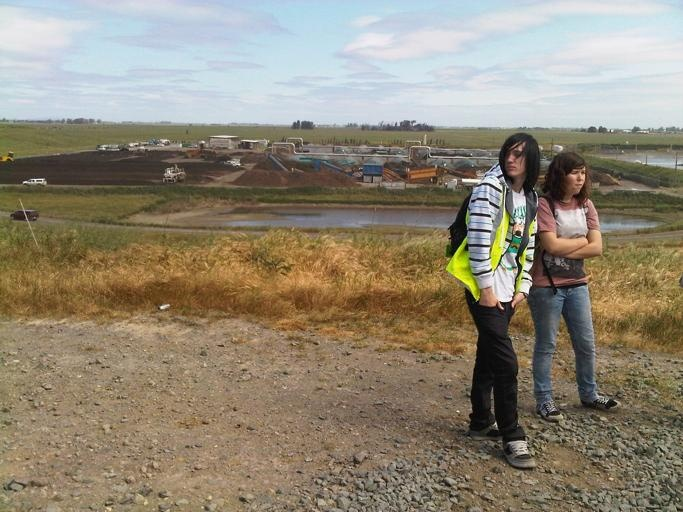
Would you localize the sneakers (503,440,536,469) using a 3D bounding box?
[{"bbox_3d":[1.390,1.536,3.968,0.124,0.107,0.298,-2,-7,-7],"label":"sneakers"}]

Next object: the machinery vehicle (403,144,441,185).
[{"bbox_3d":[9.794,-10.760,63.058,3.747,5.269,2.976,0,-12,3],"label":"machinery vehicle"}]

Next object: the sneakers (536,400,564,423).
[{"bbox_3d":[1.879,1.409,4.614,0.116,0.101,0.285,-4,-6,-7],"label":"sneakers"}]

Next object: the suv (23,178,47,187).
[{"bbox_3d":[-33.877,-7.805,56.422,2.685,0.938,1.343,5,10,3],"label":"suv"}]

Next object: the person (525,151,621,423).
[{"bbox_3d":[2.080,0.277,4.667,0.734,2.346,0.732,-1,16,-12],"label":"person"}]

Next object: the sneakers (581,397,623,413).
[{"bbox_3d":[2.452,1.394,4.830,0.322,0.107,0.124,-5,28,20],"label":"sneakers"}]

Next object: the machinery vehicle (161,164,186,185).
[{"bbox_3d":[-21.701,-9.940,65.422,2.698,2.292,4.350,3,16,0],"label":"machinery vehicle"}]

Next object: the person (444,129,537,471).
[{"bbox_3d":[1.247,0.296,4.171,0.799,2.488,1.030,5,15,10],"label":"person"}]
